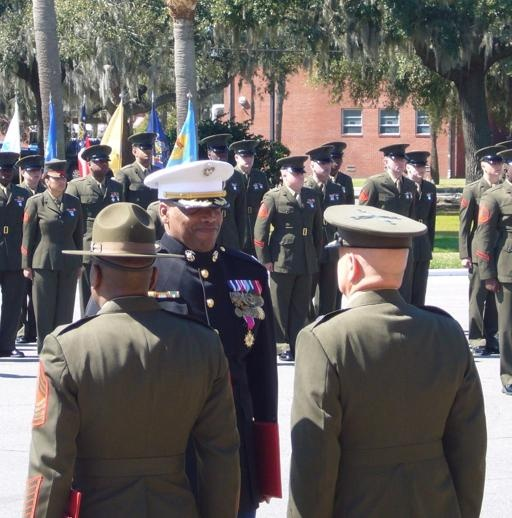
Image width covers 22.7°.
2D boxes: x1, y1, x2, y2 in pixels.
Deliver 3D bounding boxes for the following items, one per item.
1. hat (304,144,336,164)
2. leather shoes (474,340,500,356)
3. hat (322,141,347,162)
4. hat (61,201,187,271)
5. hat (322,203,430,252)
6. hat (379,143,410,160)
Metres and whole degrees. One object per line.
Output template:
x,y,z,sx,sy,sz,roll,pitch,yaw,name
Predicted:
0.663,-1.063,12.879,0.179,0.121,0.208,-4,3,-24,hat
2.150,0.822,11.757,0.316,0.149,0.104,6,-9,-45,leather shoes
0.941,-1.244,14.461,0.231,0.143,0.272,0,0,-8,hat
-0.800,-0.133,7.501,0.569,0.265,0.582,1,0,-25,hat
0.602,-0.162,6.393,0.502,0.219,0.363,-2,5,3,hat
1.410,-1.086,12.832,0.208,0.121,0.224,-1,5,-23,hat
